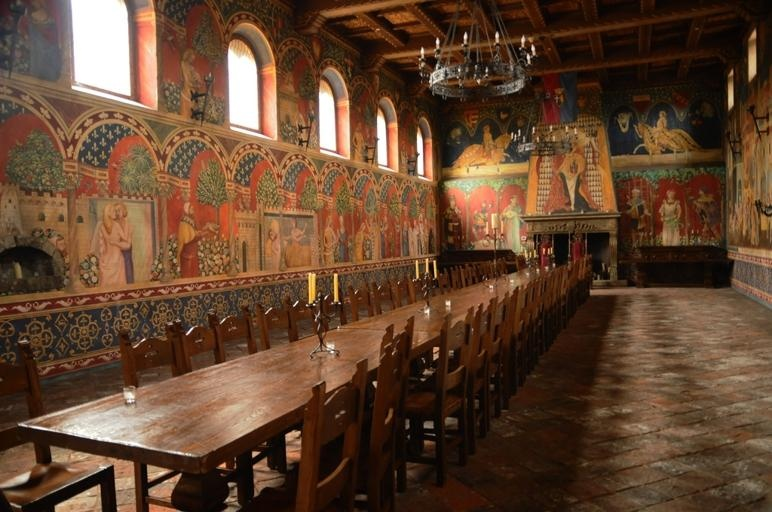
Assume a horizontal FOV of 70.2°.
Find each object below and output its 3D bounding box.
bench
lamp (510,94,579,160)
[{"bbox_3d":[9.891,0.344,18.735,3.243,1.481,1.752,4,11,24],"label":"bench"},{"bbox_3d":[5.164,-3.919,17.432,1.699,1.620,1.696,-15,12,-36],"label":"lamp"}]
